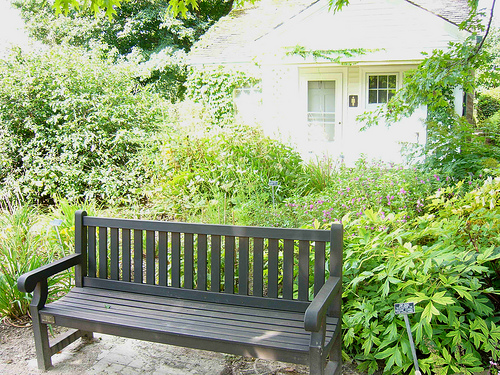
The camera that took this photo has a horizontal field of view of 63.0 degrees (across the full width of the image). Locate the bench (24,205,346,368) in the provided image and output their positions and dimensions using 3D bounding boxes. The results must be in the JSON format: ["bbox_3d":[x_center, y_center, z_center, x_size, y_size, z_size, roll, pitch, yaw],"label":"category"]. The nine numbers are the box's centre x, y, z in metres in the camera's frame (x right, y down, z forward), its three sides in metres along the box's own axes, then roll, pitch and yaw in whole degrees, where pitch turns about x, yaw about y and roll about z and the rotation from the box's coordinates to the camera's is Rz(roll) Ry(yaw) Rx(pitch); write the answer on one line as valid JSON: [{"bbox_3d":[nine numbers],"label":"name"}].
[{"bbox_3d":[-0.526,0.911,3.438,2.541,1.314,0.779,2,10,14],"label":"bench"}]
